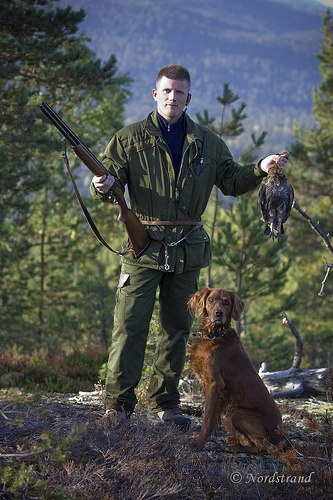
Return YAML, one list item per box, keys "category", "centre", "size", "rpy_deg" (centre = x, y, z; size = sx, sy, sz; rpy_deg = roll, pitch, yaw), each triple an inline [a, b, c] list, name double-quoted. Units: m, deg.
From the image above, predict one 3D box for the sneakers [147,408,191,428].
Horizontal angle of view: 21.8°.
- category: "sneakers"
  centre: [-0.003, 1.465, 7.595]
  size: [0.404, 0.152, 0.139]
  rpy_deg: [-1, -3, 35]

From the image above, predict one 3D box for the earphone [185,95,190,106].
- category: "earphone"
  centre: [0.174, -1.306, 7.502]
  size: [0.055, 0.072, 0.030]
  rpy_deg: [-3, 9, -35]

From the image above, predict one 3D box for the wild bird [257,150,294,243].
- category: "wild bird"
  centre: [0.910, -0.417, 7.343]
  size: [0.317, 0.701, 0.273]
  rpy_deg: [7, 19, 13]

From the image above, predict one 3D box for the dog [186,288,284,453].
- category: "dog"
  centre: [0.560, 1.012, 7.319]
  size: [0.947, 1.270, 0.581]
  rpy_deg: [7, -1, -5]

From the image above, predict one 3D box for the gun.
- category: "gun"
  centre: [-0.605, -0.555, 7.254]
  size: [0.827, 1.323, 0.465]
  rpy_deg: [14, 21, 30]
